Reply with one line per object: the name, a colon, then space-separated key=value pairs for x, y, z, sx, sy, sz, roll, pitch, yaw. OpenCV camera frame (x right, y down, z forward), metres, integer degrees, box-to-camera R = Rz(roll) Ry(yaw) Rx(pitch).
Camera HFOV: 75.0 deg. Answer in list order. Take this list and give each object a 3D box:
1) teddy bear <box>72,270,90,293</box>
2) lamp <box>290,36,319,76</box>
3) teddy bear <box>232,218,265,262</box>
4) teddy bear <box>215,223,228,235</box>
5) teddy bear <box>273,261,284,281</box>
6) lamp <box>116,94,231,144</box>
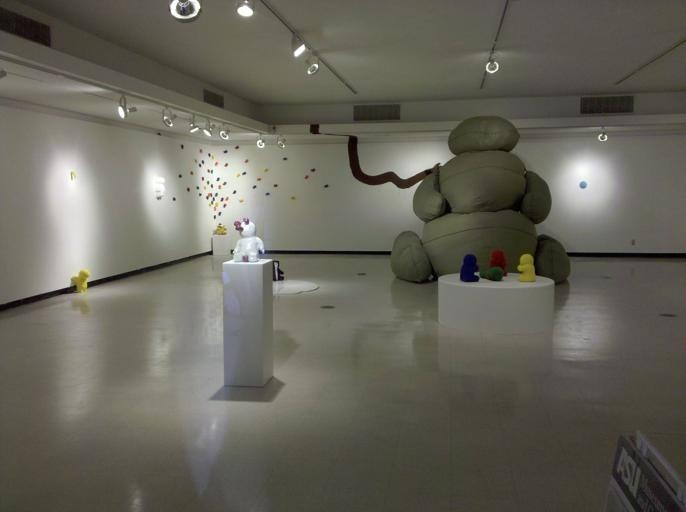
teddy bear: x=-4.237 y=0.399 z=7.269 sx=0.245 sy=0.362 sz=0.410 roll=-3 pitch=7 yaw=-32
lamp: x=-0.507 y=-2.744 z=5.991 sx=0.314 sy=0.197 sz=0.530 roll=37 pitch=-4 yaw=10
teddy bear: x=-0.809 y=-0.135 z=3.874 sx=0.235 sy=0.350 sz=0.382 roll=-1 pitch=7 yaw=-14
teddy bear: x=-3.141 y=-0.691 z=11.651 sx=0.249 sy=0.300 sz=0.278 roll=-2 pitch=-10 yaw=11
teddy bear: x=-1.157 y=0.250 z=8.172 sx=0.173 sy=0.338 sz=0.683 roll=0 pitch=7 yaw=-8
lamp: x=-3.021 y=-2.458 z=7.949 sx=2.122 sy=0.625 sz=0.478 roll=15 pitch=34 yaw=-7
